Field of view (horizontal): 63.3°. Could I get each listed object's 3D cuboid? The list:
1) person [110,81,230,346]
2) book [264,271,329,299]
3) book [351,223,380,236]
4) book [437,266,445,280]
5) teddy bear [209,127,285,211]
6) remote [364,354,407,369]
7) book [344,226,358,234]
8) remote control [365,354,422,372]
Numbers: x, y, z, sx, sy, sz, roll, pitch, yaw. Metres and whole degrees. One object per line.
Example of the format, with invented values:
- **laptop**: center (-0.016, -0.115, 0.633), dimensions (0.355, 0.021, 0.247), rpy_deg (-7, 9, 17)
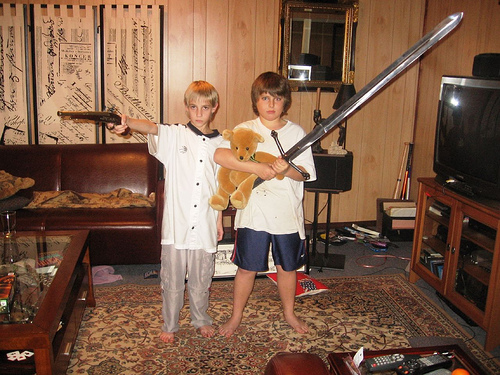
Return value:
- **person**: center (-0.442, 0.187, 2.537), dimensions (0.543, 1.669, 0.346), rpy_deg (-1, 11, -9)
- **book**: center (0.386, 0.803, 3.268), dimensions (0.336, 0.110, 0.348), rpy_deg (-8, 8, -15)
- **book**: center (1.260, 0.464, 4.439), dimensions (0.298, 0.075, 0.459), rpy_deg (4, 12, 14)
- **book**: center (1.443, 0.644, 3.078), dimensions (0.038, 0.125, 0.135), rpy_deg (5, 12, 21)
- **teddy bear**: center (-0.044, -0.107, 2.431), dimensions (0.428, 0.435, 0.304), rpy_deg (-7, 13, -9)
- **remote**: center (0.641, 0.820, 1.910), dimensions (0.138, 0.026, 0.077), rpy_deg (-5, 32, 1)
- **book**: center (1.083, 0.449, 4.341), dimensions (0.133, 0.053, 0.046), rpy_deg (27, 17, 14)
- **remote control**: center (0.677, 0.825, 1.902), dimensions (0.265, 0.055, 0.080), rpy_deg (-5, 33, -4)
